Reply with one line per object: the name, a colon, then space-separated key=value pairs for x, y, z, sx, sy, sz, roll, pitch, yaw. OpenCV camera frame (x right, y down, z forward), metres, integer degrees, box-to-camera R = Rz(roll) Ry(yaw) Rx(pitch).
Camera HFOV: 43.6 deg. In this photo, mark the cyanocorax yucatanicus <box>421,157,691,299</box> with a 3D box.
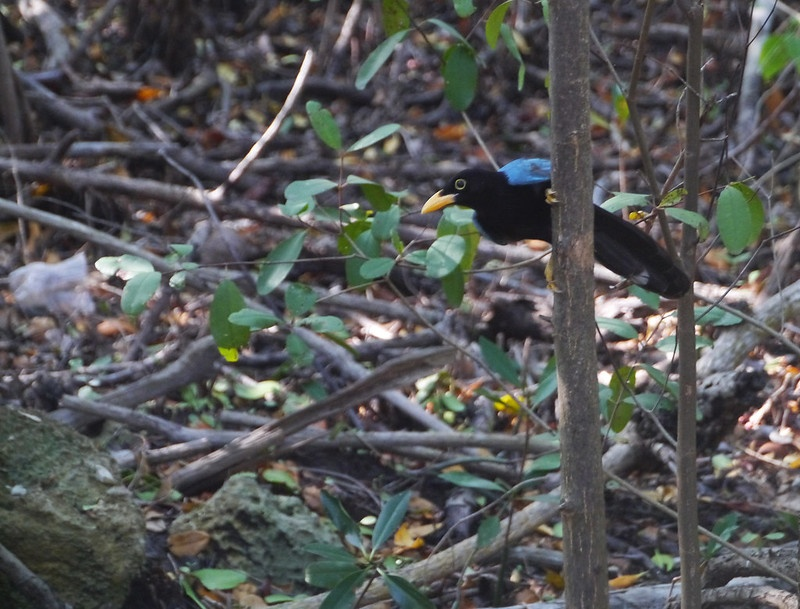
cyanocorax yucatanicus: x=0.756 y=-0.375 z=4.651 sx=1.272 sy=0.676 sz=0.656 roll=2 pitch=-3 yaw=37
